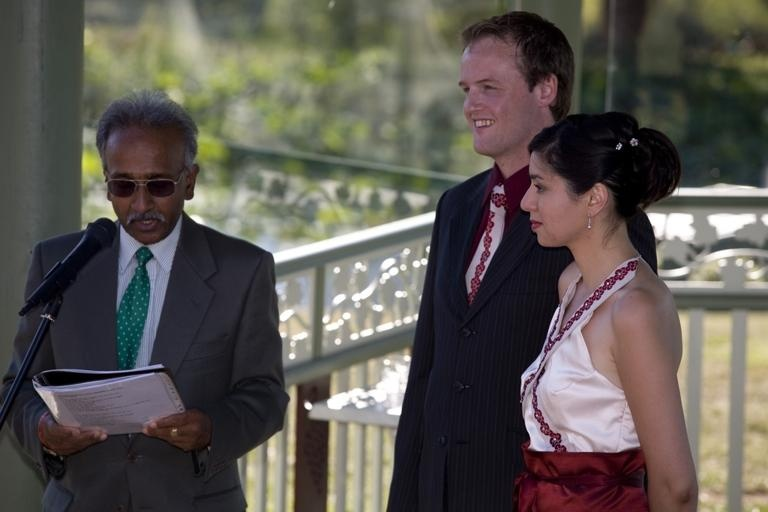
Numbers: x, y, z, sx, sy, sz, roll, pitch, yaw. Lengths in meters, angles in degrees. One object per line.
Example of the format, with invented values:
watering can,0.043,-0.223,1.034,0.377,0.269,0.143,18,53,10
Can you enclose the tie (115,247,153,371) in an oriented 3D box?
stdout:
tie,-1.363,0.290,7.780,0.144,0.665,0.058,11,-15,-7

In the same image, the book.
book,-1.434,0.755,7.474,0.761,0.377,0.237,-1,2,2

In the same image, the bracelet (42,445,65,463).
bracelet,-1.772,1.062,7.659,0.092,0.030,0.072,24,-2,14

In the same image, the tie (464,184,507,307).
tie,0.567,-0.074,7.887,0.149,0.779,0.021,5,-22,24

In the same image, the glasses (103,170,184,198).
glasses,-1.291,-0.390,7.756,0.420,0.142,0.102,-1,2,-12
